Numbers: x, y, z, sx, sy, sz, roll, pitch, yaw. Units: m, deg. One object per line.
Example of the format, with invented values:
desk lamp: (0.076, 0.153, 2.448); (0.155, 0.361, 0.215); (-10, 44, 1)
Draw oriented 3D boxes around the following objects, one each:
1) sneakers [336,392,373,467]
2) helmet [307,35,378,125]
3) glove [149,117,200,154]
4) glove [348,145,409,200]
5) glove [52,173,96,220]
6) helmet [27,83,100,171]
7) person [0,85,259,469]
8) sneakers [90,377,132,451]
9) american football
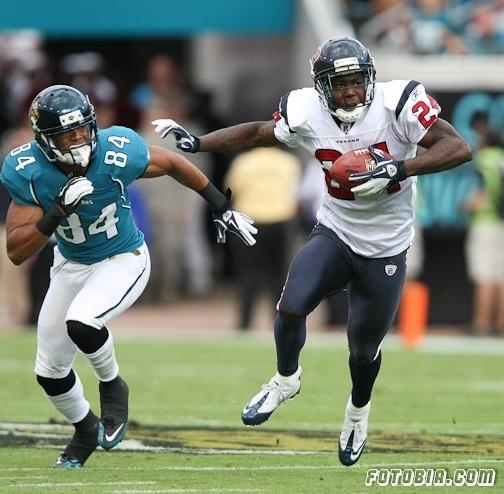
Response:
sneakers: (0.483, 0.882, 3.520); (0.122, 0.352, 0.148); (8, -17, 9)
helmet: (0.393, -0.719, 3.145); (0.331, 0.347, 0.368); (-11, 16, -2)
glove: (-0.369, -0.544, 3.631); (0.251, 0.160, 0.106); (45, 14, -6)
glove: (0.533, -0.321, 3.073); (0.223, 0.091, 0.199); (-3, 47, 8)
glove: (-0.742, -0.209, 2.990); (0.121, 0.176, 0.057); (48, -4, 30)
helmet: (-0.813, -0.554, 3.130); (0.303, 0.278, 0.345); (-21, 52, -26)
person: (-0.677, 0.151, 3.311); (0.561, 1.699, 0.824); (0, -2, 36)
sneakers: (-0.627, 0.752, 3.289); (0.132, 0.335, 0.172); (-1, -7, -8)
american football: (0.474, -0.330, 3.150); (0.309, 0.170, 0.185); (-7, 26, -11)
